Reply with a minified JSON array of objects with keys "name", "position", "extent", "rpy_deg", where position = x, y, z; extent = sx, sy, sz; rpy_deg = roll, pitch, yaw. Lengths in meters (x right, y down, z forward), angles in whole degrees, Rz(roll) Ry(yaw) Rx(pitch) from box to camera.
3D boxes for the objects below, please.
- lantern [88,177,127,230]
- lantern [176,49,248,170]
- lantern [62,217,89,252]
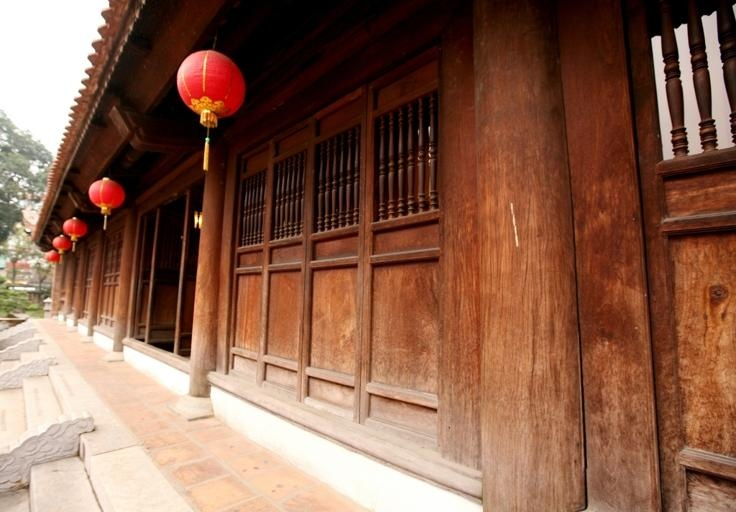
[{"name":"lantern","position":[-3.947,-0.913,7.247],"extent":[0.443,0.594,0.436],"rpy_deg":[-1,5,-9]},{"name":"lantern","position":[-1.429,-1.534,4.336],"extent":[0.570,0.672,0.257],"rpy_deg":[-2,5,-21]},{"name":"lantern","position":[-6.225,-0.505,10.055],"extent":[0.414,0.675,0.411],"rpy_deg":[-3,-6,14]}]
